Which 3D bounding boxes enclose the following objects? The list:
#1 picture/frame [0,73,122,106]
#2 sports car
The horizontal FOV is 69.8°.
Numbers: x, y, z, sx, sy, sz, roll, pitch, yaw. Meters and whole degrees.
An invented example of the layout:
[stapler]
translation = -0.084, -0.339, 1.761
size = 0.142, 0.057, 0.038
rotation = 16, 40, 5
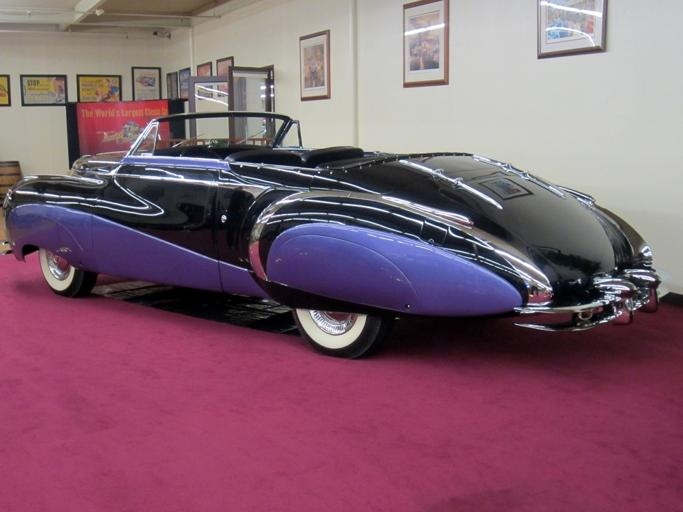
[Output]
[picture/frame]
translation = -6.451, -3.821, 11.334
size = 2.513, 0.871, 0.133
rotation = -3, 14, -20
[sports car]
translation = -0.359, -0.172, 3.046
size = 3.915, 0.874, 1.686
rotation = 7, 12, 27
